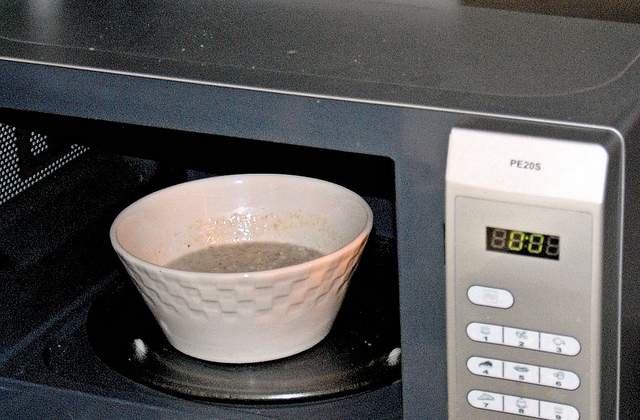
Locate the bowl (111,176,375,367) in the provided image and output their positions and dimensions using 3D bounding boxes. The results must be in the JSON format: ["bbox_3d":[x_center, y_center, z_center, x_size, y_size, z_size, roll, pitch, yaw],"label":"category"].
[{"bbox_3d":[-0.068,0.069,0.595,0.245,0.097,0.229,-2,12,0],"label":"bowl"}]
